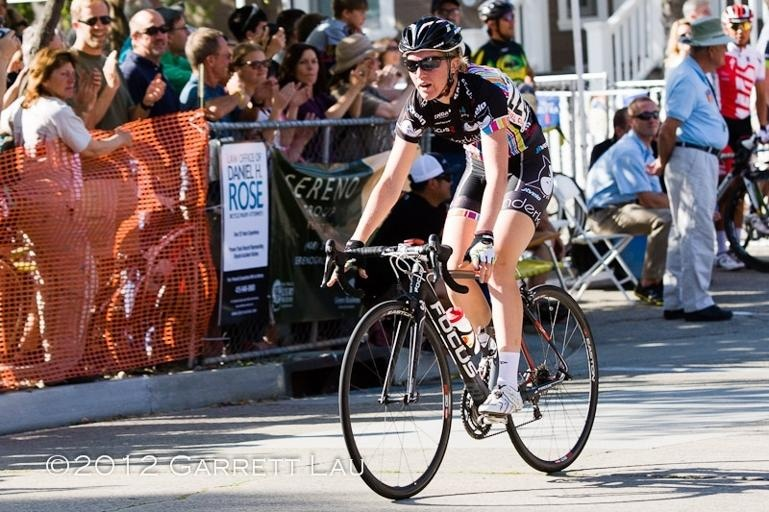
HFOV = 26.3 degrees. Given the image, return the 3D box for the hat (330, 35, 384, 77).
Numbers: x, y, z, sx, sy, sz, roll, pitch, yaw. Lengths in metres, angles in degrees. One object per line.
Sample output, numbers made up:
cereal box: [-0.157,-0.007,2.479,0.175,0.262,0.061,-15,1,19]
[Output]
hat: [-0.300,-2.074,16.584,0.443,0.168,0.369,-36,14,-11]

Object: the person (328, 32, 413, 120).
person: [-0.104,-1.892,17.065,0.777,0.436,1.077,-27,6,20]

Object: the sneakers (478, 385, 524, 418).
sneakers: [0.907,1.093,12.680,0.371,0.238,0.155,-2,5,-13]

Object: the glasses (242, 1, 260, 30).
glasses: [-1.475,-2.603,17.762,0.136,0.259,0.174,27,4,-29]

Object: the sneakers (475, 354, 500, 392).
sneakers: [0.827,0.900,12.857,0.110,0.254,0.198,0,-12,-39]

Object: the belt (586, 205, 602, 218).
belt: [2.325,-0.513,18.179,0.097,0.113,0.102,5,30,-33]

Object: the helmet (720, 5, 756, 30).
helmet: [4.094,-2.773,19.064,0.281,0.293,0.334,-3,-9,13]

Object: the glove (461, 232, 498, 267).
glove: [0.733,-0.076,12.482,0.251,0.245,0.127,-2,4,-8]

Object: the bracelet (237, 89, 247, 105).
bracelet: [-1.328,-1.508,15.569,0.032,0.119,0.124,3,7,7]

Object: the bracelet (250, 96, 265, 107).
bracelet: [-1.186,-1.473,15.566,0.103,0.098,0.091,-28,4,11]

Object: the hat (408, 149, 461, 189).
hat: [0.531,-0.851,16.010,0.486,0.226,0.292,-6,17,-19]

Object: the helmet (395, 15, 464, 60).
helmet: [0.364,-1.705,12.708,0.491,0.292,0.257,-1,4,1]

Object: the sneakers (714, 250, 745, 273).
sneakers: [4.029,0.044,19.167,0.143,0.174,0.386,-18,17,-33]

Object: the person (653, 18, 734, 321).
person: [3.172,-0.895,16.892,0.789,3.073,0.454,-2,4,-2]

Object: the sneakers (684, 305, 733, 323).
sneakers: [3.346,0.571,16.996,0.507,0.179,0.175,-3,-2,5]
